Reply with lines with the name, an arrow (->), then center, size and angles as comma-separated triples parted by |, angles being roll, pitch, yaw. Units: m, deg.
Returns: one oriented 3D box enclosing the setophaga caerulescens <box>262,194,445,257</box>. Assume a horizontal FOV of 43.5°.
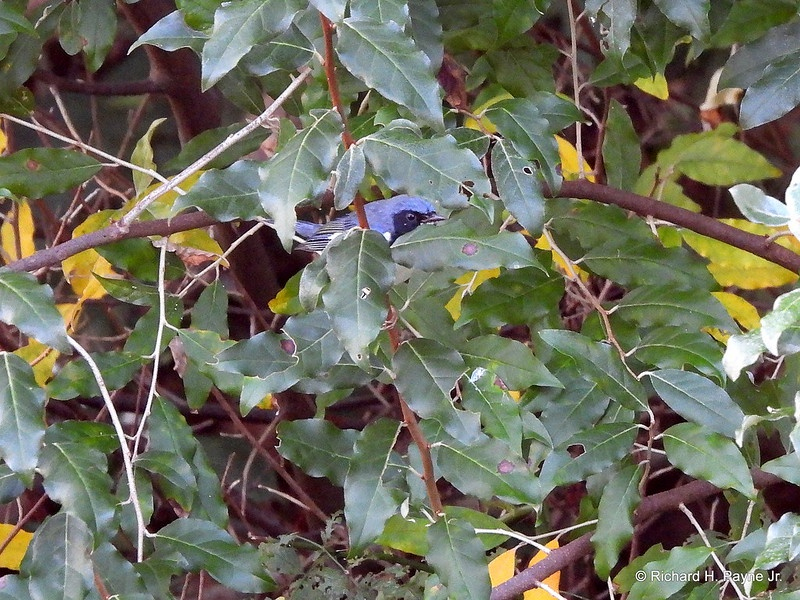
setophaga caerulescens -> -0.129, -0.215, 2.989 | 0.562, 0.240, 0.176 | 12, 16, 27
